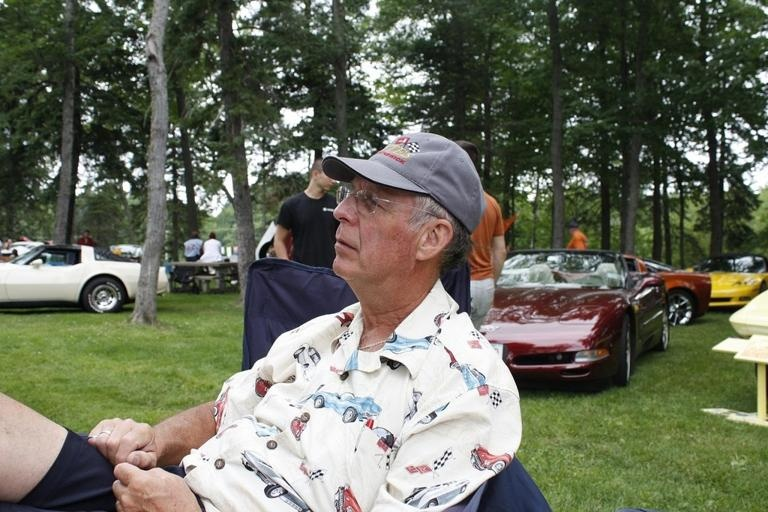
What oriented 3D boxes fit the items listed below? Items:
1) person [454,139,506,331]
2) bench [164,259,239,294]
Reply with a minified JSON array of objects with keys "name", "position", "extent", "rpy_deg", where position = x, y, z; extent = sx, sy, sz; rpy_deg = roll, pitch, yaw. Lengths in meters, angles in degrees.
[{"name":"person","position":[1.693,0.077,14.919],"extent":[0.621,2.469,0.681],"rpy_deg":[-5,-19,45]},{"name":"bench","position":[-6.371,1.215,28.123],"extent":[1.252,0.539,2.095],"rpy_deg":[0,-3,22]}]
